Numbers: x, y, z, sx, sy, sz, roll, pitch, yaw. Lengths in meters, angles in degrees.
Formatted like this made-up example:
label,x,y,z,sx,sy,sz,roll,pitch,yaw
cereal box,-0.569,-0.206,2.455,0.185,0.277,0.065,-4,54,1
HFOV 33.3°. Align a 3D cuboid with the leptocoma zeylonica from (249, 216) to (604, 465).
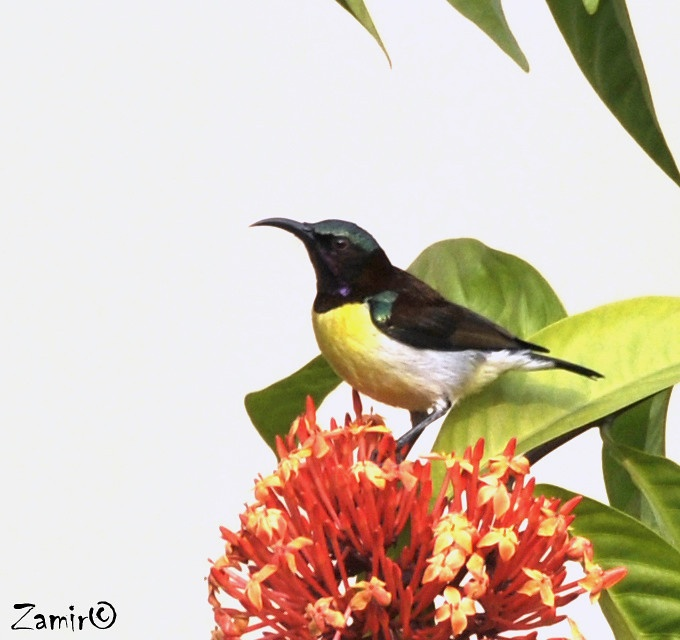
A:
label,x,y,z,sx,sy,sz,roll,pitch,yaw
leptocoma zeylonica,0.192,0.041,2.275,0.623,0.460,0.224,-1,-10,-8
